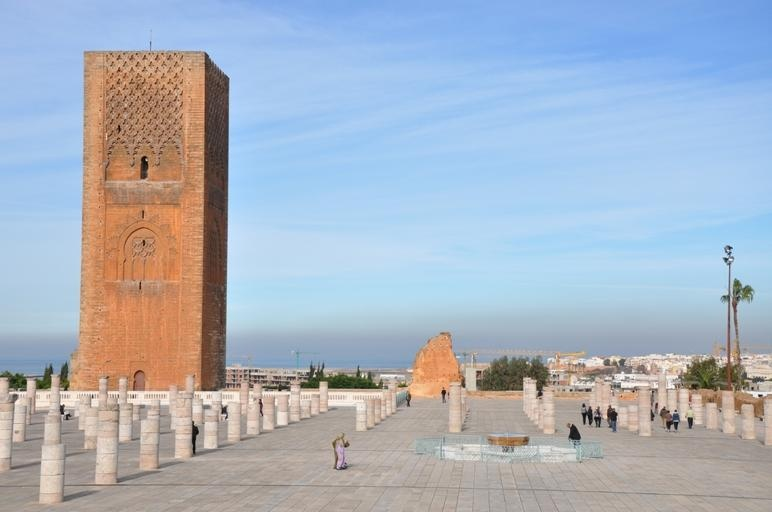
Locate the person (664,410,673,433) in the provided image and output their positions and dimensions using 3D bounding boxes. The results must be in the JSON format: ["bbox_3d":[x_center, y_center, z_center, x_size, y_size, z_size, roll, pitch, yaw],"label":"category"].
[{"bbox_3d":[11.836,6.885,46.392,0.328,0.875,0.497,-7,-13,22],"label":"person"}]
